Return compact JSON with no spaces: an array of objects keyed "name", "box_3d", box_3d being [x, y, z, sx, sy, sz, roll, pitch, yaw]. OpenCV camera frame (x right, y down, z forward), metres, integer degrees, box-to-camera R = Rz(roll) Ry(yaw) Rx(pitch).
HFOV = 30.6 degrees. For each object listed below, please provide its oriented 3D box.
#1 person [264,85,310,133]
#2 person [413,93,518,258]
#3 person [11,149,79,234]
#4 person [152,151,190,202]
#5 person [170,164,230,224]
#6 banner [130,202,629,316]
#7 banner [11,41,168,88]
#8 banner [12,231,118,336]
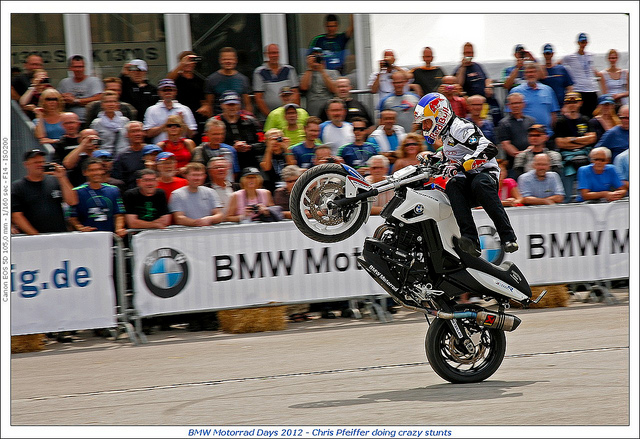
[{"name":"person","box_3d":[-0.559,-1.748,18.849,0.910,1.028,0.383,-4,-37,-7]},{"name":"person","box_3d":[1.984,-0.513,16.033,1.410,1.157,2.456,27,32,-22]},{"name":"person","box_3d":[-3.985,-0.405,17.073,0.964,1.178,0.342,-3,9,-13]},{"name":"person","box_3d":[-2.248,-0.656,17.466,0.522,0.781,0.411,-6,6,-35]},{"name":"person","box_3d":[-1.815,-0.270,17.405,0.866,1.042,0.656,-4,5,-16]},{"name":"banner","box_3d":[0.710,0.528,16.895,9.150,1.262,0.057,-5,-10,31]},{"name":"banner","box_3d":[-3.964,-2.769,20.565,2.575,0.683,0.780,-1,8,-4]},{"name":"banner","box_3d":[-3.730,0.927,16.713,0.166,1.375,2.197,-5,-2,38]}]
